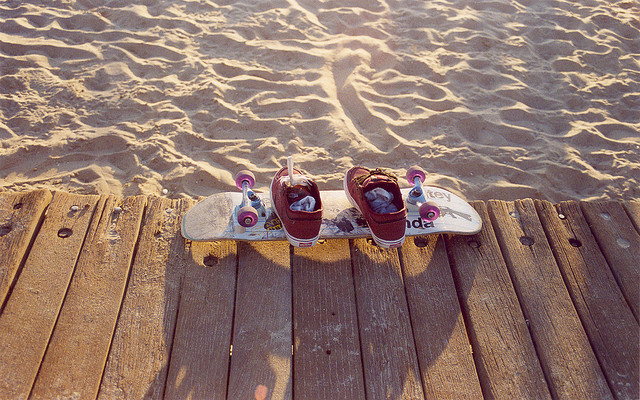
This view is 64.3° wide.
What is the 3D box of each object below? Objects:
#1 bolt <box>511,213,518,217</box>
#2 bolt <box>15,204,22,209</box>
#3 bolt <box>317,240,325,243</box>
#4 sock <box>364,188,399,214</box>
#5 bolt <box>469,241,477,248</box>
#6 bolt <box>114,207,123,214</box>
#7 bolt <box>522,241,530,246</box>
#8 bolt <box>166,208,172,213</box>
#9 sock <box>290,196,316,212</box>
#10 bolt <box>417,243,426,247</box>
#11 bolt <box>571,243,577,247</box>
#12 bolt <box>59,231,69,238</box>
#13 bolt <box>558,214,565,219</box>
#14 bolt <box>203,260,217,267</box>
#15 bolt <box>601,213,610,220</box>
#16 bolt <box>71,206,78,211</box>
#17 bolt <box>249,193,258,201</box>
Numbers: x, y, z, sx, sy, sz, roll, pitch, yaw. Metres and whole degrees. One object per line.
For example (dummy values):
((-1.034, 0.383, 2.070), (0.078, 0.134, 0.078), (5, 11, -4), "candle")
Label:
((1.836, 0.143, 4.806), (0.060, 0.013, 0.041), (6, 48, 2), "bolt")
((-2.750, 0.062, 4.615), (0.061, 0.016, 0.042), (-6, 49, -8), "bolt")
((0.006, 0.378, 4.674), (0.058, 0.011, 0.027), (2, 48, -1), "bolt")
((0.550, 0.010, 4.557), (0.207, 0.096, 0.264), (-4, 80, 2), "sock")
((1.410, 0.414, 4.679), (0.065, 0.011, 0.053), (5, 48, 1), "bolt")
((-1.871, 0.096, 4.691), (0.073, 0.033, 0.046), (-7, 49, -10), "bolt")
((1.903, 0.399, 4.699), (0.063, 0.011, 0.040), (5, 48, 1), "bolt")
((-1.411, 0.101, 4.740), (0.042, 0.014, 0.034), (-9, 49, -11), "bolt")
((-0.160, 0.034, 4.488), (0.206, 0.100, 0.115), (-5, 82, -4), "sock")
((0.931, 0.415, 4.680), (0.077, 0.007, 0.041), (-2, 48, -6), "bolt")
((2.348, 0.413, 4.686), (0.041, 0.006, 0.055), (19, 50, 13), "bolt")
((-2.316, 0.310, 4.570), (0.083, 0.013, 0.055), (25, 51, 18), "bolt")
((2.277, 0.158, 4.792), (0.052, 0.013, 0.046), (9, 48, 5), "bolt")
((-0.985, 0.568, 4.543), (0.099, 0.011, 0.076), (-9, 49, -12), "bolt")
((2.693, 0.153, 4.795), (0.046, 0.007, 0.063), (2, 49, 11), "bolt")
((-2.265, 0.080, 4.657), (0.036, 0.016, 0.040), (0, 41, -6), "bolt")
((-0.632, -0.025, 4.769), (0.047, 0.023, 0.079), (4, 33, -2), "bolt")
